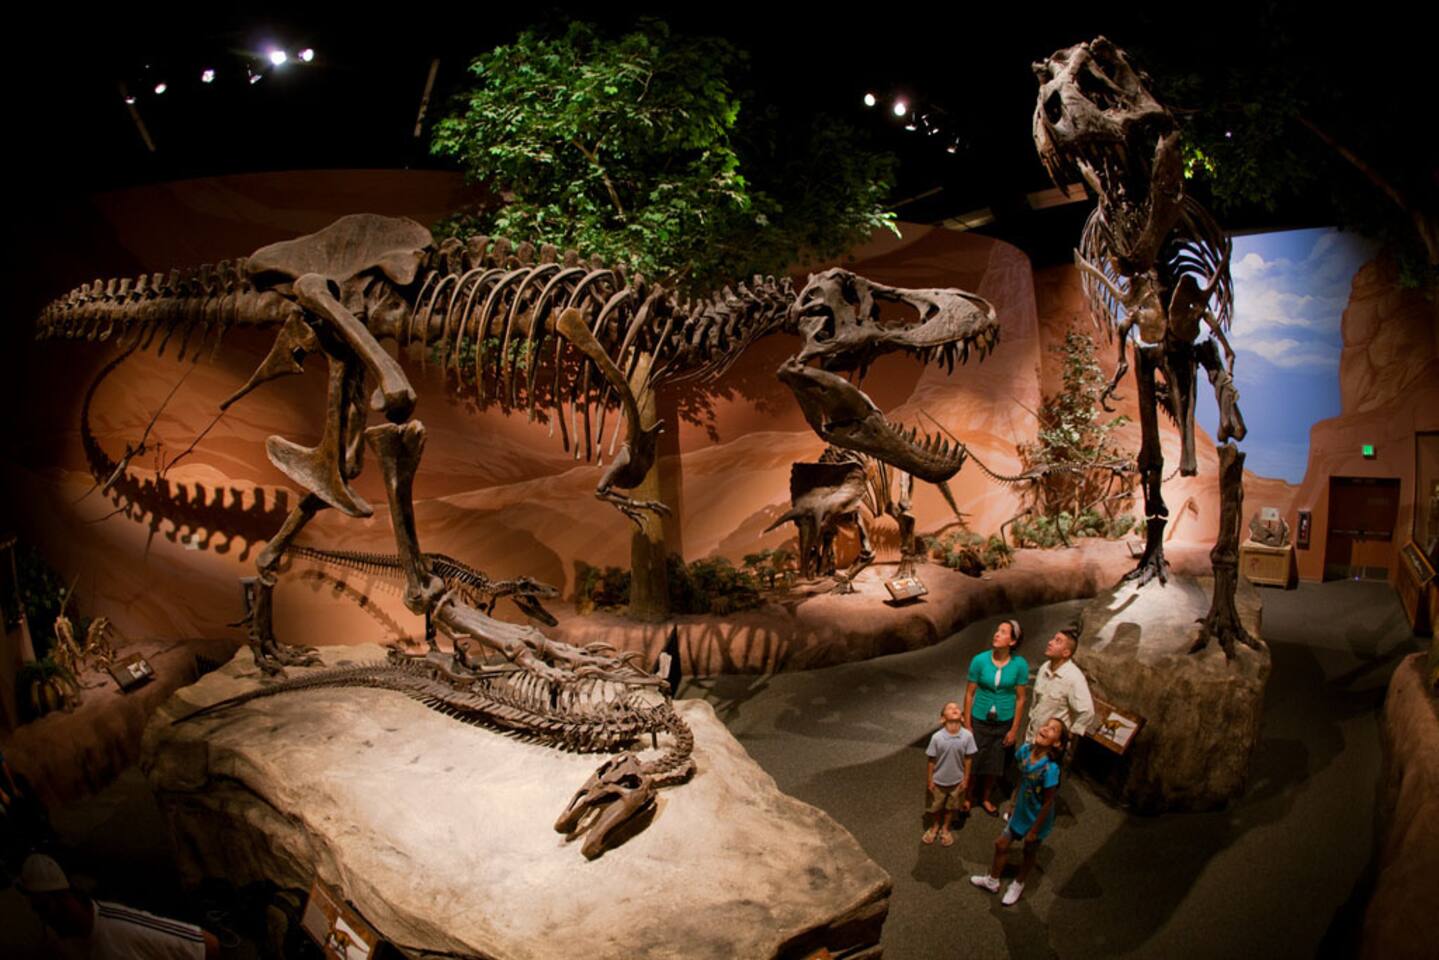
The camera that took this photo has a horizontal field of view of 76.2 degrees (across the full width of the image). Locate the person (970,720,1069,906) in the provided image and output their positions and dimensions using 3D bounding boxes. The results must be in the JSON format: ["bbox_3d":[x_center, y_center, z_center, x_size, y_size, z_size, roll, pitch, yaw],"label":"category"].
[{"bbox_3d":[2.171,2.304,6.512,0.691,1.290,0.554,-6,3,-43],"label":"person"}]

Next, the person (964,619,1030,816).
[{"bbox_3d":[2.089,1.830,7.004,0.441,1.469,0.403,5,10,12],"label":"person"}]

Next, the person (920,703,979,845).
[{"bbox_3d":[1.702,2.158,6.850,0.422,1.045,0.370,-3,2,13],"label":"person"}]

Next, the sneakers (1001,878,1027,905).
[{"bbox_3d":[2.052,2.880,6.412,0.086,0.092,0.254,-15,-8,38],"label":"sneakers"}]

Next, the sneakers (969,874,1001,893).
[{"bbox_3d":[1.880,2.832,6.493,0.216,0.086,0.089,7,15,30],"label":"sneakers"}]
